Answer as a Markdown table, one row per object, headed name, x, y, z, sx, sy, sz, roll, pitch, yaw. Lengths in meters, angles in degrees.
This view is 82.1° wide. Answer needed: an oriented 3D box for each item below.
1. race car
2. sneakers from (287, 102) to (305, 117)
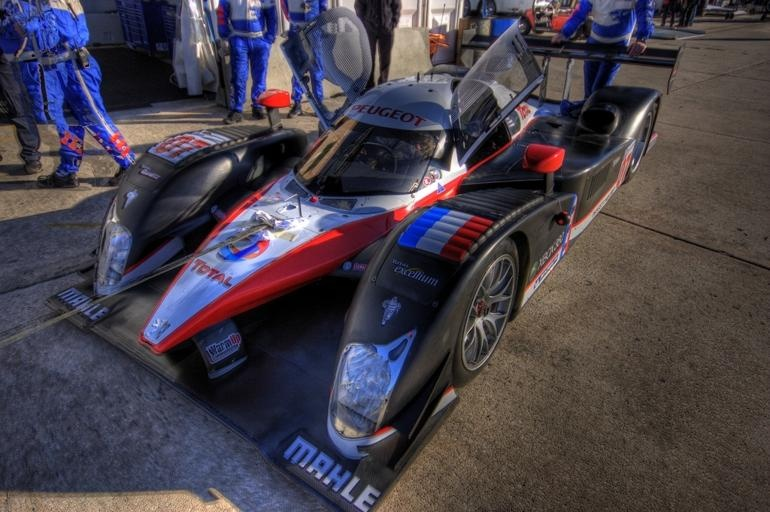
| name | x | y | z | sx | sy | sz | roll | pitch | yaw |
| --- | --- | --- | --- | --- | --- | --- | --- | --- | --- |
| race car | -0.181 | -0.679 | 3.710 | 3.213 | 2.310 | 4.032 | 23 | 37 | 29 |
| sneakers | -1.488 | -2.436 | 7.337 | 0.129 | 0.144 | 0.319 | 15 | 36 | 9 |
